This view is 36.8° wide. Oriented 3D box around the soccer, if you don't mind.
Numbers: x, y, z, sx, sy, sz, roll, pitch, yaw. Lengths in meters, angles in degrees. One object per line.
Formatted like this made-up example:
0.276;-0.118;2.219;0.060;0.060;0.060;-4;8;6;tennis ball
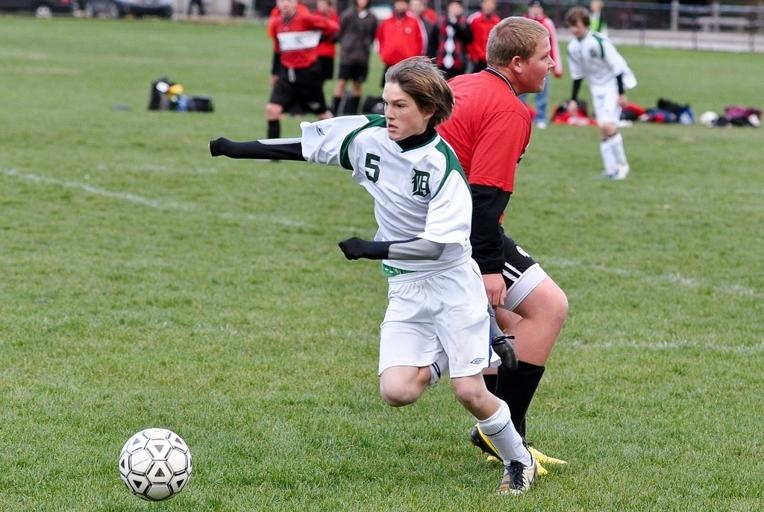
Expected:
-1.460;1.359;7.515;0.434;0.454;0.425;1;-5;-3;soccer

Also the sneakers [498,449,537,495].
0.925;1.493;7.771;0.137;0.165;0.399;-1;6;19;sneakers

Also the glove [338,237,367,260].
-0.181;-0.040;7.227;0.153;0.154;0.187;4;9;0;glove
